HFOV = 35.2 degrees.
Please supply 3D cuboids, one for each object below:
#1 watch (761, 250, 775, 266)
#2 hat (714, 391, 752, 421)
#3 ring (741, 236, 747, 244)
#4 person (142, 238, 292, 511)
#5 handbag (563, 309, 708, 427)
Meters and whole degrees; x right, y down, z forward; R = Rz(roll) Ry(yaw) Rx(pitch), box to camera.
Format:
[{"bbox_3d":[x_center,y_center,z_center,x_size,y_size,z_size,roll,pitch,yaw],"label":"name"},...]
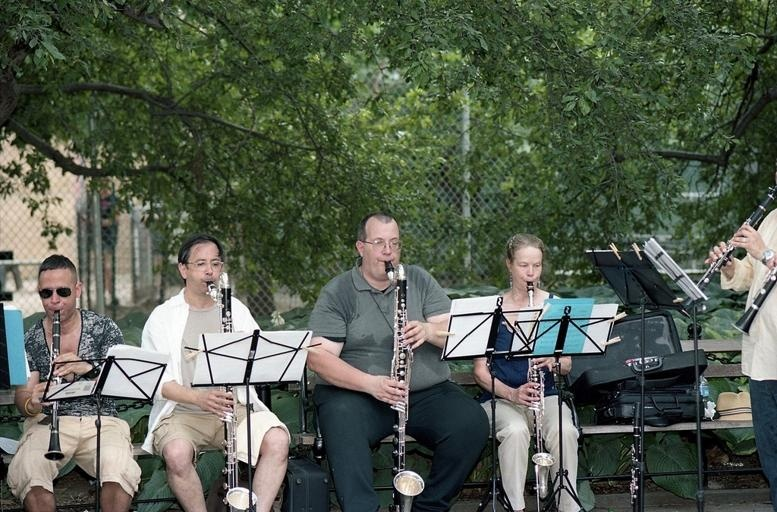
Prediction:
[{"bbox_3d":[2.878,0.008,9.235,0.102,0.096,0.027,1,-4,31],"label":"watch"},{"bbox_3d":[2.858,1.242,10.062,0.307,0.139,0.420,-1,-3,5],"label":"hat"},{"bbox_3d":[2.705,-0.120,9.245,0.055,0.048,0.018,-4,-14,9],"label":"ring"},{"bbox_3d":[-1.349,0.890,9.360,1.086,2.130,0.598,-3,-7,-11],"label":"person"},{"bbox_3d":[2.088,0.906,10.093,0.978,0.952,1.019,3,-3,-25],"label":"handbag"}]
